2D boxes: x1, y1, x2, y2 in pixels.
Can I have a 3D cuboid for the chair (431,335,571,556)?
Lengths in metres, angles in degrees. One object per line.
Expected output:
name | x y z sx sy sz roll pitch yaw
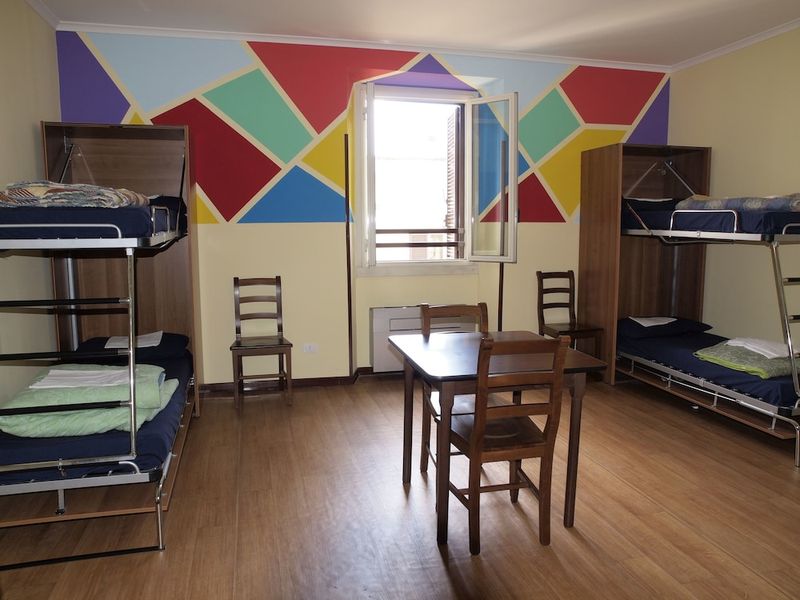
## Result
chair | 0.626 0.799 3.623 0.690 1.258 0.551 -2 7 3

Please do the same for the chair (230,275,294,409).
chair | -1.269 0.346 5.638 0.556 1.122 0.665 -4 7 -13

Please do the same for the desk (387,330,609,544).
desk | 0.625 0.841 3.729 1.269 0.937 1.266 7 -3 -13

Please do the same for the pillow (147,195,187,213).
pillow | -1.801 -0.740 4.776 0.334 0.120 0.391 -2 8 -23
